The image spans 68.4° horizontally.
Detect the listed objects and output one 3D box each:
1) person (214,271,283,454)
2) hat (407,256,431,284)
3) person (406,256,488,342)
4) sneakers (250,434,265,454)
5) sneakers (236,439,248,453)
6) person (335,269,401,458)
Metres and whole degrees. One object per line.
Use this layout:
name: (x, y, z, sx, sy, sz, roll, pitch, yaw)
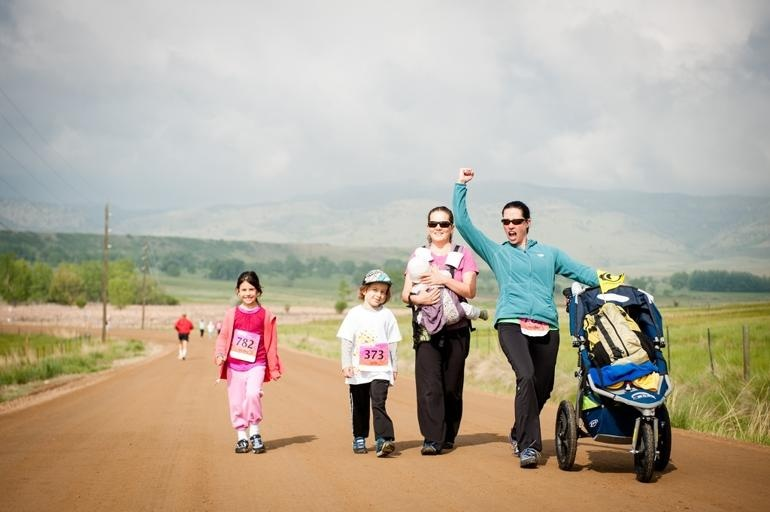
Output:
person: (-2.505, 1.861, 10.378, 1.094, 3.237, 1.475, 0, -3, -16)
hat: (0.580, 0.221, 9.435, 0.320, 0.471, 0.384, -7, -41, 21)
person: (1.044, 0.795, 9.593, 1.480, 0.671, 0.921, 20, -29, -39)
sneakers: (-2.242, 3.287, 10.001, 0.264, 0.293, 0.271, 0, -3, -12)
sneakers: (-2.505, 3.315, 9.947, 0.236, 0.212, 0.138, 0, -3, -10)
person: (-0.262, 1.863, 10.087, 1.040, 3.266, 1.475, 0, -3, -1)
